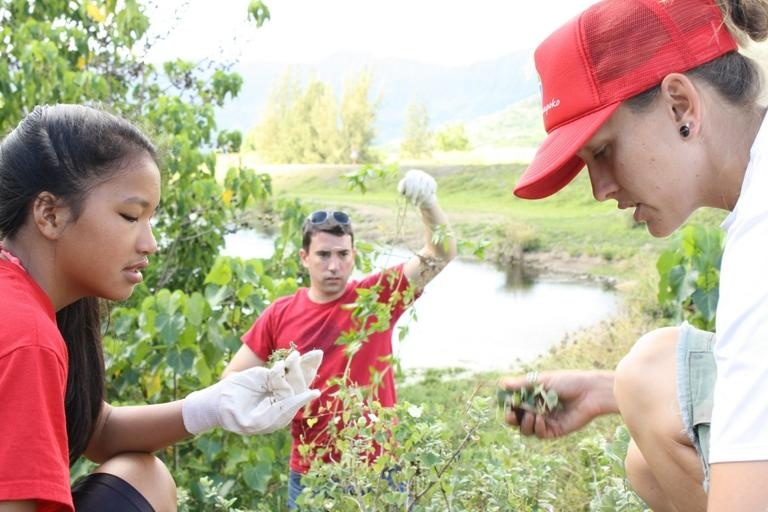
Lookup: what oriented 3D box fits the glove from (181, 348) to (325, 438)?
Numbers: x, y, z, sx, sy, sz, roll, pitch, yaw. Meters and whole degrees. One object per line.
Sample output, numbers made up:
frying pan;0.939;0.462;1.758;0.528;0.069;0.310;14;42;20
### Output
glove;-0.505;0.542;2.956;0.505;0.249;0.294;-17;13;-5
